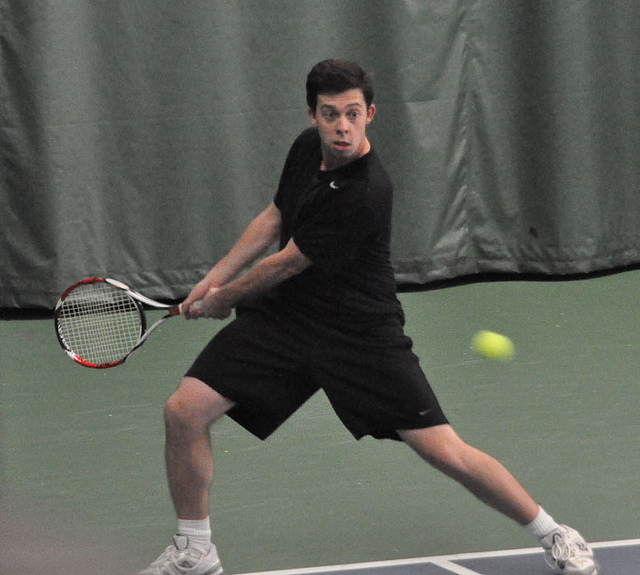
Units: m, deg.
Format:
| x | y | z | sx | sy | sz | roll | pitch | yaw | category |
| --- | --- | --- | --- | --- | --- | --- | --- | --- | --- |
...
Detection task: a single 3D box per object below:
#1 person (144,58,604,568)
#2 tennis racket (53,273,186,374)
| x | y | z | sx | sy | sz | roll | pitch | yaw | category |
| --- | --- | --- | --- | --- | --- | --- | --- | --- | --- |
| 0.032 | 0.050 | 2.713 | 1.293 | 1.590 | 0.647 | -3 | 14 | 1 | person |
| -0.895 | 0.157 | 4.419 | 1.180 | 0.495 | 0.062 | -4 | -13 | -35 | tennis racket |
